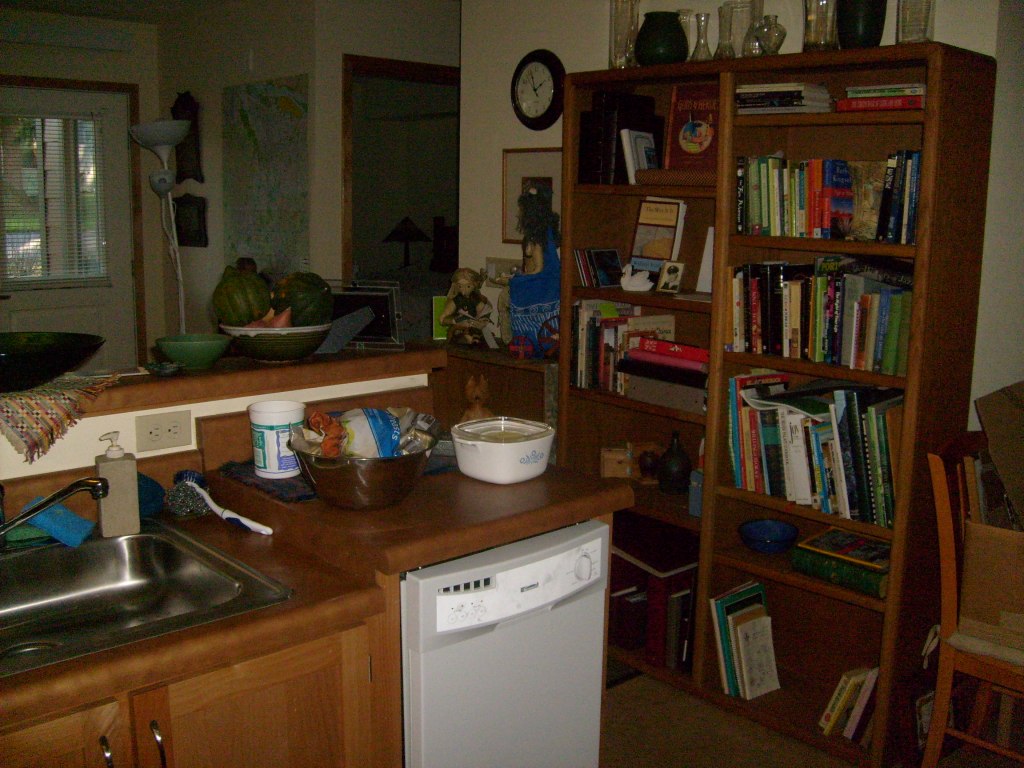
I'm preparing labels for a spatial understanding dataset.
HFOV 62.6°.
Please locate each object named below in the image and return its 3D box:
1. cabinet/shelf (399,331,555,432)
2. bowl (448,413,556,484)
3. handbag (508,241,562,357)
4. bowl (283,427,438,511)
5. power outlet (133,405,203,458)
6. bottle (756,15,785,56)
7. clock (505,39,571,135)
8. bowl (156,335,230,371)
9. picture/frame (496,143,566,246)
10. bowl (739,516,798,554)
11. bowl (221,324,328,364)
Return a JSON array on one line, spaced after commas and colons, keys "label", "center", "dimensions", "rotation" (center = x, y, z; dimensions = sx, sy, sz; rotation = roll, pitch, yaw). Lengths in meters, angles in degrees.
[{"label": "cabinet/shelf", "center": [-0.091, 0.070, 3.959], "dimensions": [0.297, 0.419, 0.918], "rotation": [-14, 17, -42]}, {"label": "bowl", "center": [-0.026, 0.177, 2.217], "dimensions": [0.245, 0.137, 0.228], "rotation": [-2, 13, 0]}, {"label": "handbag", "center": [0.116, -0.368, 3.942], "dimensions": [0.305, 0.446, 0.485], "rotation": [-3, 10, -10]}, {"label": "bowl", "center": [-0.316, 0.234, 2.071], "dimensions": [0.299, 0.135, 0.294], "rotation": [-5, -5, -1]}, {"label": "power outlet", "center": [-0.901, 0.121, 2.182], "dimensions": [0.135, 0.095, 0.017], "rotation": [-9, 21, -36]}, {"label": "bottle", "center": [0.905, -1.199, 2.904], "dimensions": [0.088, 0.142, 0.116], "rotation": [-1, 13, 4]}, {"label": "clock", "center": [0.112, -1.436, 4.120], "dimensions": [0.031, 0.328, 0.340], "rotation": [19, 35, 35]}, {"label": "bowl", "center": [-0.868, -0.090, 2.285], "dimensions": [0.131, 0.053, 0.129], "rotation": [0, 9, 0]}, {"label": "picture/frame", "center": [0.106, -0.930, 4.098], "dimensions": [0.026, 0.608, 0.585], "rotation": [-3, 10, -39]}, {"label": "bowl", "center": [0.967, 0.565, 3.138], "dimensions": [0.141, 0.049, 0.139], "rotation": [-3, 19, 1]}, {"label": "bowl", "center": [-0.656, -0.117, 2.339], "dimensions": [0.159, 0.054, 0.157], "rotation": [1, 13, 0]}]
